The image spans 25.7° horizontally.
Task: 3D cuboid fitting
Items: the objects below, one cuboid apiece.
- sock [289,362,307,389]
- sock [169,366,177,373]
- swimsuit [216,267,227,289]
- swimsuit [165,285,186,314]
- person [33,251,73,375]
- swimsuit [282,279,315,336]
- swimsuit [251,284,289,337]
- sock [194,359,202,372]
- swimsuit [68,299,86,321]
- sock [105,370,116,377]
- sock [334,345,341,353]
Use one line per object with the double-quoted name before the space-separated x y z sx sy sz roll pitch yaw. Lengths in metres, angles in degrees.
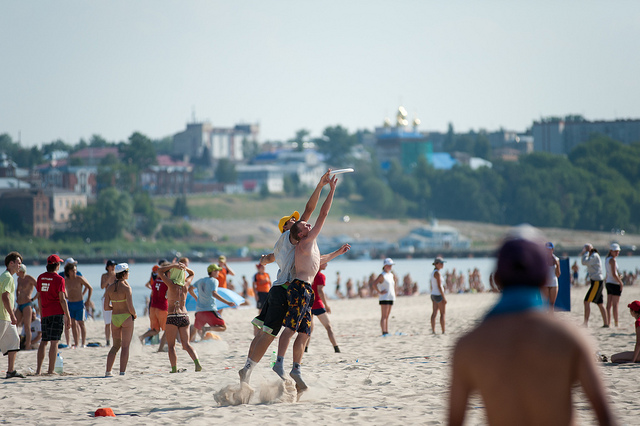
"sock" -0.631 4.921 43.156 0.578 0.826 0.248 -1 2 -39
"sock" -4.658 4.941 44.919 0.240 0.229 0.321 1 2 -8
"swimsuit" -3.419 2.242 49.987 0.283 0.674 0.797 1 2 -4
"swimsuit" -4.659 2.687 44.753 0.721 0.854 0.327 2 2 29
"person" -8.504 3.200 44.834 0.992 3.787 0.454 0 1 -12
"swimsuit" -0.620 2.832 42.828 0.895 1.670 0.233 1 1 -5
"swimsuit" -1.348 2.915 43.350 0.870 1.692 1.279 22 7 -18
"sock" -3.870 4.797 45.028 0.242 0.419 0.517 1 2 -5
"swimsuit" -8.113 3.199 46.907 0.581 0.626 0.368 2 22 0
"sock" -6.628 5.047 44.618 0.246 0.265 0.123 0 7 -14
"sock" 0.611 4.452 46.502 0.215 0.206 0.296 1 2 -3
